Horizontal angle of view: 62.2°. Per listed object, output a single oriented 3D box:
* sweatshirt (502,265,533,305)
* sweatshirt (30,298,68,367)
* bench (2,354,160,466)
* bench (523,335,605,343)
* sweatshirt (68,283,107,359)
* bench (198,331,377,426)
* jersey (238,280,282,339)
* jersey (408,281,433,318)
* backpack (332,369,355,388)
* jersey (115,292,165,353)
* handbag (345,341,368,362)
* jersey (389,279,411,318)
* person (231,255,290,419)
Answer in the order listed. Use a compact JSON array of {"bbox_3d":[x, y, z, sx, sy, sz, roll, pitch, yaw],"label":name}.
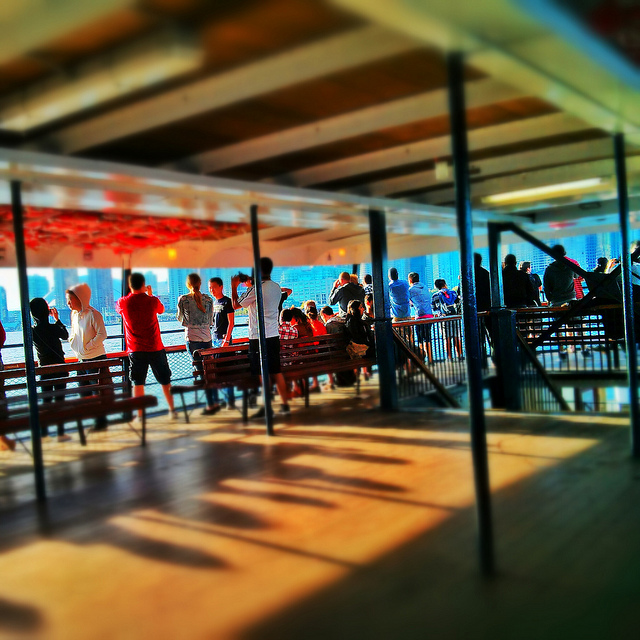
[{"bbox_3d":[3.812,-0.670,10.377,0.917,0.752,0.484,-3,22,17],"label":"sweatshirt"},{"bbox_3d":[-3.877,0.160,7.623,0.441,0.968,0.314,-6,0,-29],"label":"sweatshirt"},{"bbox_3d":[-2.932,1.101,6.463,0.621,0.728,1.700,12,12,41],"label":"bench"},{"bbox_3d":[4.745,0.357,10.444,1.367,0.140,0.586,-4,0,4],"label":"bench"},{"bbox_3d":[-3.396,0.009,7.716,0.497,1.095,0.258,-6,0,-22],"label":"sweatshirt"},{"bbox_3d":[-0.651,0.849,8.475,3.322,0.989,0.816,-11,18,30],"label":"bench"},{"bbox_3d":[-0.870,-0.160,7.661,0.399,0.846,0.648,-7,0,24],"label":"jersey"},{"bbox_3d":[2.149,-0.459,11.462,0.490,0.784,0.263,-6,0,-37],"label":"jersey"},{"bbox_3d":[0.467,1.182,10.785,0.546,0.372,0.565,-6,-8,-5],"label":"backpack"},{"bbox_3d":[-2.622,0.036,7.830,0.649,0.878,0.366,-6,0,-15],"label":"jersey"},{"bbox_3d":[0.598,0.536,8.959,0.409,0.245,0.317,8,-6,-32],"label":"handbag"},{"bbox_3d":[1.624,-0.454,10.943,0.385,0.789,0.397,-6,0,7],"label":"jersey"},{"bbox_3d":[-0.916,0.239,7.849,0.774,2.196,0.797,-13,-6,39],"label":"person"}]
